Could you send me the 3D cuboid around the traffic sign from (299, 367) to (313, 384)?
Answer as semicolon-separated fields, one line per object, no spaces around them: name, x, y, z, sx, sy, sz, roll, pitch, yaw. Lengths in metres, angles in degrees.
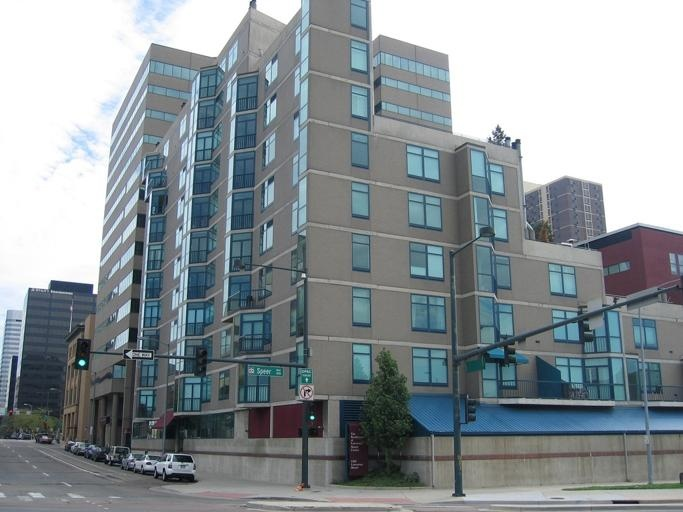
traffic sign;-2.231;7.429;40.589;1.051;1.051;0.530;6;-10;-37
